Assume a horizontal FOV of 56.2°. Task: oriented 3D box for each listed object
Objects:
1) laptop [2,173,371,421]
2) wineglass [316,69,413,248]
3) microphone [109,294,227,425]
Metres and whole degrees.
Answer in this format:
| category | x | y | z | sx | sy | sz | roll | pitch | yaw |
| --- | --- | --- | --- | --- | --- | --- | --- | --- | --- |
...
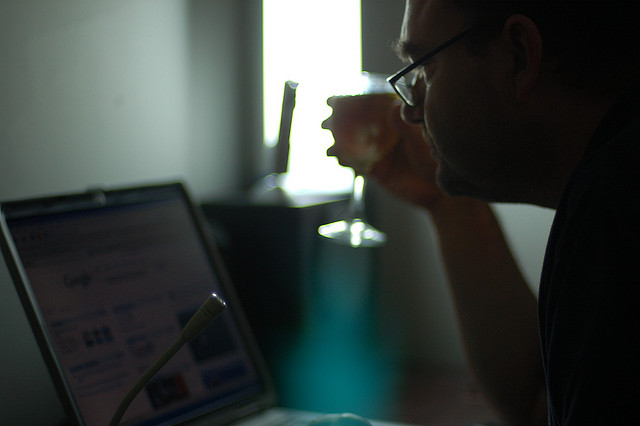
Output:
| category | x | y | z | sx | sy | sz | roll | pitch | yaw |
| --- | --- | --- | --- | --- | --- | --- | --- | --- | --- |
| laptop | -0.239 | 0.161 | 1.004 | 0.466 | 0.350 | 0.434 | 2 | 4 | 35 |
| wineglass | 0.106 | -0.125 | 1.563 | 0.224 | 0.407 | 0.231 | -6 | 44 | -13 |
| microphone | -0.257 | 0.250 | 0.987 | 0.051 | 0.263 | 0.043 | 44 | 4 | 16 |
